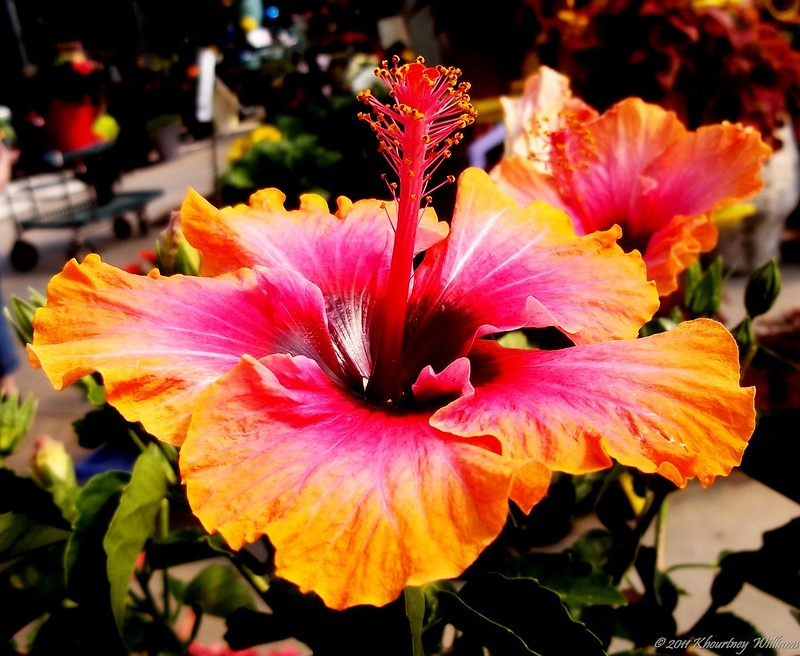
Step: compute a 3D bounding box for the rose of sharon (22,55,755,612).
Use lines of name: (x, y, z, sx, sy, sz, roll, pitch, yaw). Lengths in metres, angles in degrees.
rose of sharon: (0.024, -0.096, 0.984, 0.788, 0.811, 0.429, 2, 102, -8)
